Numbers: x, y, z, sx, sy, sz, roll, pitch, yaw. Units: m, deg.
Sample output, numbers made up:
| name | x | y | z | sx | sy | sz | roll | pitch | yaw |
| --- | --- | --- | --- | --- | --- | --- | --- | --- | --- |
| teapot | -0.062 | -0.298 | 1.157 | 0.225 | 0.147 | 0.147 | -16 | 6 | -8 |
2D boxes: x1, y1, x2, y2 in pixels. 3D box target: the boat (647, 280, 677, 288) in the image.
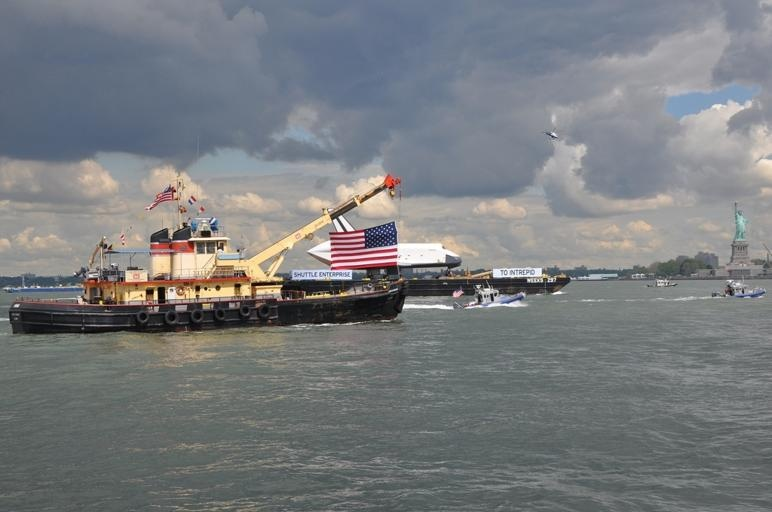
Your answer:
| name | x | y | z | sx | sy | sz | roll | pitch | yaw |
| --- | --- | --- | --- | --- | --- | --- | --- | --- | --- |
| boat | 62.185 | 6.091 | 236.413 | 3.937 | 1.268 | 2.612 | 1 | 0 | 35 |

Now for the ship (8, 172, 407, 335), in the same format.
| name | x | y | z | sx | sy | sz | roll | pitch | yaw |
| --- | --- | --- | --- | --- | --- | --- | --- | --- | --- |
| ship | -15.352 | 1.489 | 89.303 | 30.326 | 9.519 | 4.963 | 0 | -4 | -15 |

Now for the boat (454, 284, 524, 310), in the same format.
| name | x | y | z | sx | sy | sz | roll | pitch | yaw |
| --- | --- | --- | --- | --- | --- | --- | --- | --- | --- |
| boat | 11.728 | 4.512 | 120.687 | 10.072 | 2.871 | 2.969 | 0 | -4 | -23 |
